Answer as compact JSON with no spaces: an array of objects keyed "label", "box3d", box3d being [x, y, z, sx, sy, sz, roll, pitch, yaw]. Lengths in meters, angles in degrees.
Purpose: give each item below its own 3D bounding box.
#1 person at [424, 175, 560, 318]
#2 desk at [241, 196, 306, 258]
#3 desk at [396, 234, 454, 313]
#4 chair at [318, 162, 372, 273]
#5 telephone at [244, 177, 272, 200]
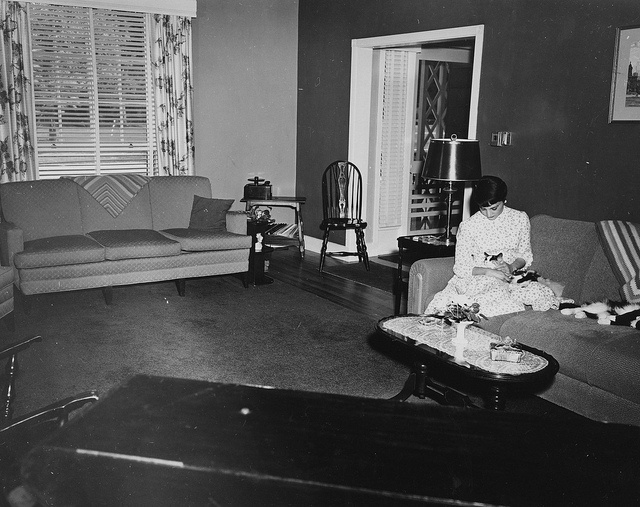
[{"label":"person","box3d":[1.026,-0.014,3.321,0.836,0.831,0.650,-11,22,-9]},{"label":"desk","box3d":[-0.597,-0.401,6.484,0.950,0.913,0.718,0,8,5]},{"label":"desk","box3d":[0.763,0.138,3.765,0.403,0.535,0.531,-5,12,-22]},{"label":"chair","box3d":[0.290,-0.451,5.895,0.547,1.152,1.078,1,11,2]},{"label":"telephone","box3d":[-0.742,-0.751,6.301,0.312,0.241,0.323,2,5,9]}]
